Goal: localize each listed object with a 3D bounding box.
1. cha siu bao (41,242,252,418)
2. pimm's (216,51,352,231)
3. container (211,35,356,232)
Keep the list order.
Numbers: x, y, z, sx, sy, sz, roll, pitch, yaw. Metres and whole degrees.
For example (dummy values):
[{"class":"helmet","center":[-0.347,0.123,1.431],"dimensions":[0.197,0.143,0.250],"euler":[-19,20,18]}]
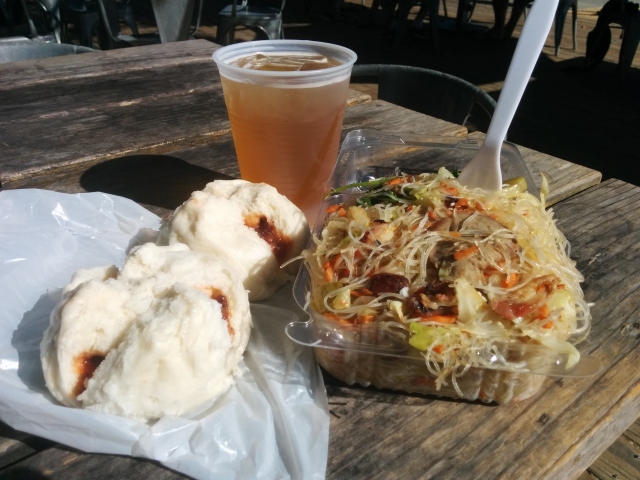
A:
[{"class":"cha siu bao","center":[-0.298,0.152,0.888],"dimensions":[0.361,0.094,0.248],"euler":[3,56,-11]},{"class":"pimm's","center":[-0.065,-0.253,1.304],"dimensions":[0.499,0.415,0.348],"euler":[-1,36,-3]},{"class":"container","center":[-0.074,-0.265,1.296],"dimensions":[0.326,0.416,0.288],"euler":[-14,33,-30]}]
